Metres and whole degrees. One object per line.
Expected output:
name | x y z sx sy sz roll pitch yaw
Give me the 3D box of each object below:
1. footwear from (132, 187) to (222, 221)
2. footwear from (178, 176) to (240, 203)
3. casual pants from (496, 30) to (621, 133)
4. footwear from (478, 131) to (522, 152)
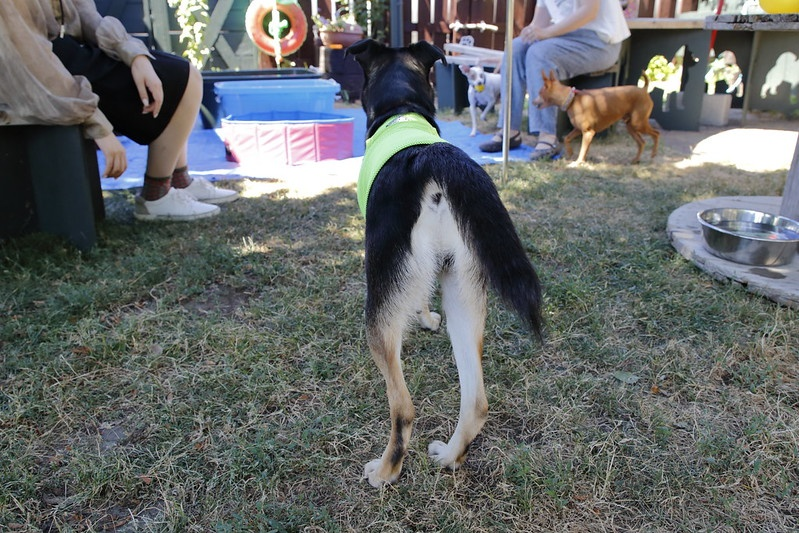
footwear | -1.620 -0.456 4.264 0.592 0.255 0.239 -2 12 -16
footwear | -1.507 -0.588 4.570 0.440 0.191 0.166 -2 30 -22
casual pants | 1.580 -1.824 5.893 1.188 1.266 0.977 -5 27 -10
footwear | 1.111 -1.310 6.131 0.540 0.212 0.199 -11 23 -23
